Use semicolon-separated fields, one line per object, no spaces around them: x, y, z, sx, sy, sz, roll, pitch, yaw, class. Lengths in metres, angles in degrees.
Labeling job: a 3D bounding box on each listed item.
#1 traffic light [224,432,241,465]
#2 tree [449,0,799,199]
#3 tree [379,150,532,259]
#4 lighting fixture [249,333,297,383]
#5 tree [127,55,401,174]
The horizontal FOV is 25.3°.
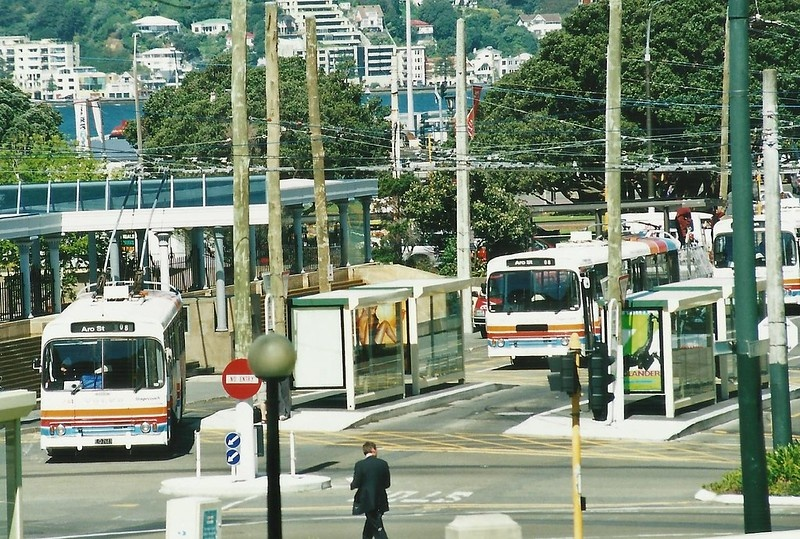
-5.296;5.801;57.408;0.428;1.145;0.805;-4;3;-4;traffic light
12.584;-11.715;102.793;12.156;11.126;16.632;-2;-4;14;tree
3.790;-3.851;95.505;5.422;3.592;5.630;4;-6;7;tree
-3.309;2.417;48.456;1.166;1.433;1.201;0;3;9;lighting fixture
-8.429;-11.197;113.764;11.221;8.904;13.939;-1;-4;-15;tree
